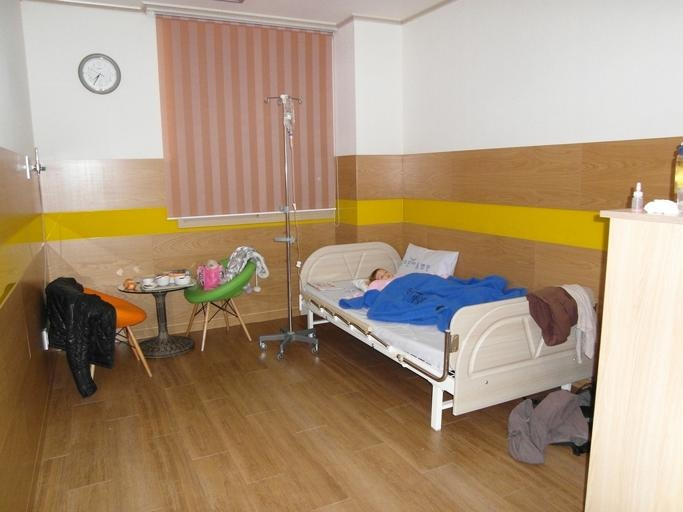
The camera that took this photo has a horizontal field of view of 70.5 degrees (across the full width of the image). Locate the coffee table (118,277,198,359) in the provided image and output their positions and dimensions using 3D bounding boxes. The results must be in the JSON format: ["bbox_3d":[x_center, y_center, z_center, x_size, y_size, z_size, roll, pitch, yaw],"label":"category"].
[{"bbox_3d":[-1.840,0.609,4.927,0.779,0.687,0.762,-5,5,-11],"label":"coffee table"}]

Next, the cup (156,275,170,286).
[{"bbox_3d":[-1.693,0.220,4.629,0.103,0.067,0.103,1,10,0],"label":"cup"}]

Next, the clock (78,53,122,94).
[{"bbox_3d":[-2.386,-1.782,4.786,0.075,0.371,0.385,32,3,31],"label":"clock"}]

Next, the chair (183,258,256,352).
[{"bbox_3d":[-1.181,0.384,5.228,0.918,0.990,0.958,-4,12,-29],"label":"chair"}]

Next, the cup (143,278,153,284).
[{"bbox_3d":[-1.823,0.233,4.581,0.068,0.044,0.059,1,0,-24],"label":"cup"}]

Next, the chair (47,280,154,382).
[{"bbox_3d":[-2.008,0.598,4.325,0.581,0.691,0.526,0,10,-44],"label":"chair"}]

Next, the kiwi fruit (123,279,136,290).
[{"bbox_3d":[-2.000,0.264,4.582,0.101,0.074,0.109,0,1,-15],"label":"kiwi fruit"}]

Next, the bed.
[{"bbox_3d":[0.576,0.603,4.288,1.322,0.768,2.201,-9,17,-28],"label":"bed"}]
